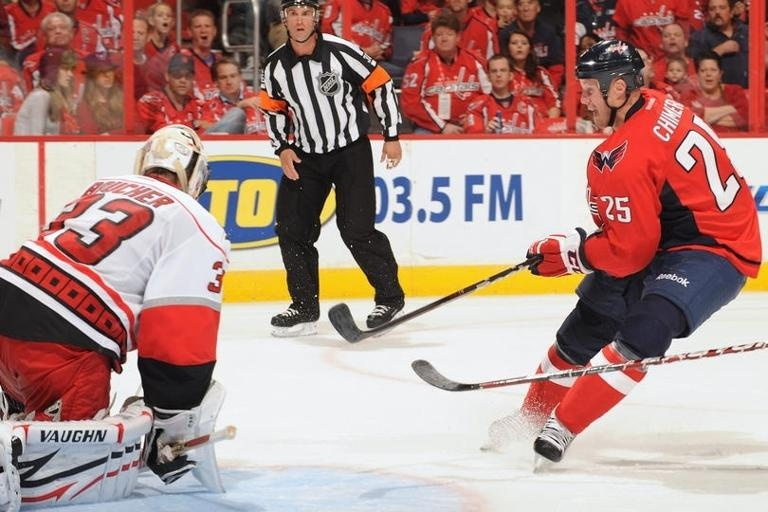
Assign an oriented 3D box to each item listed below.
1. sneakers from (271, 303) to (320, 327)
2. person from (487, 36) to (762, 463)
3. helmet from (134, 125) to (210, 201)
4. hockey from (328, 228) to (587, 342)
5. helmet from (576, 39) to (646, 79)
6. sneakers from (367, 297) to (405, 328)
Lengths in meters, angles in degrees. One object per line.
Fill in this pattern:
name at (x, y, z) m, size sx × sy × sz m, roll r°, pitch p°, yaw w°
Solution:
sneakers at (-0.545, 0.369, 6.712) m, size 0.339 × 0.134 × 0.108 m, roll 1°, pitch -2°, yaw -23°
person at (1.169, -0.166, 4.953) m, size 0.974 × 1.508 × 0.759 m, roll 5°, pitch 16°, yaw 19°
helmet at (-0.845, -0.396, 4.835) m, size 0.285 × 0.313 × 0.349 m, roll 11°, pitch -4°, yaw 21°
hockey at (0.382, 0.191, 6.919) m, size 1.081 × 0.207 × 0.257 m, roll -24°, pitch 16°, yaw 17°
helmet at (1.027, -0.898, 5.088) m, size 0.259 × 0.125 × 0.180 m, roll 5°, pitch 12°, yaw 8°
sneakers at (0.005, 0.341, 6.798) m, size 0.098 × 0.110 × 0.299 m, roll -7°, pitch 14°, yaw 47°
